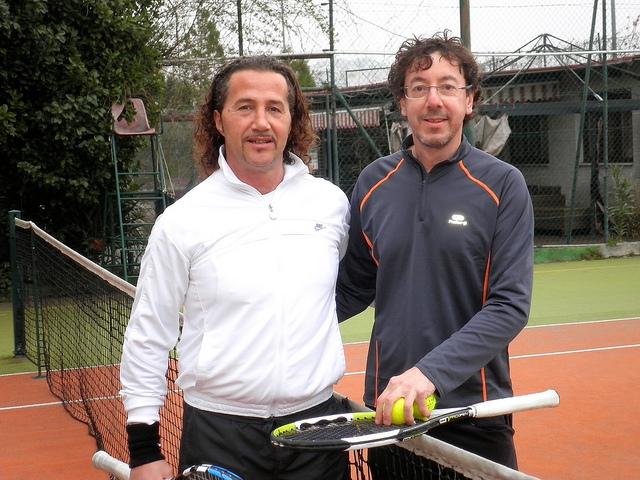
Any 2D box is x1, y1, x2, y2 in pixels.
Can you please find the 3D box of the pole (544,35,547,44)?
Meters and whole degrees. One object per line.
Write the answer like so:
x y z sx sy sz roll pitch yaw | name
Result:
4.391 -3.934 12.154 0.078 0.159 0.037 -6 7 -32 | pole

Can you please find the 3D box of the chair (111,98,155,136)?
-3.250 -2.109 10.707 0.698 0.715 0.620 -12 12 -41 | chair

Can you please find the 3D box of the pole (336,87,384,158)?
0.652 -2.131 11.244 0.657 1.587 0.541 -7 16 -27 | pole

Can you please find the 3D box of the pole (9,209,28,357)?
-3.500 0.517 7.368 0.354 1.629 0.271 -1 11 -22 | pole

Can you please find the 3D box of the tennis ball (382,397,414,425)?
0.288 0.634 2.332 0.081 0.112 0.087 -1 -1 0 | tennis ball

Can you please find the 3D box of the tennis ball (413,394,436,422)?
0.392 0.628 2.342 0.079 0.084 0.065 9 -11 0 | tennis ball

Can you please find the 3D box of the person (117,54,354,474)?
-0.357 0.108 2.724 0.990 1.816 0.644 -2 6 -6 | person

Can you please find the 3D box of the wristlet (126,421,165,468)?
-0.711 0.810 2.490 0.129 0.191 0.240 -2 5 -27 | wristlet

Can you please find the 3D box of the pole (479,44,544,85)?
3.730 -3.570 12.568 0.731 0.589 1.523 -6 8 -34 | pole
